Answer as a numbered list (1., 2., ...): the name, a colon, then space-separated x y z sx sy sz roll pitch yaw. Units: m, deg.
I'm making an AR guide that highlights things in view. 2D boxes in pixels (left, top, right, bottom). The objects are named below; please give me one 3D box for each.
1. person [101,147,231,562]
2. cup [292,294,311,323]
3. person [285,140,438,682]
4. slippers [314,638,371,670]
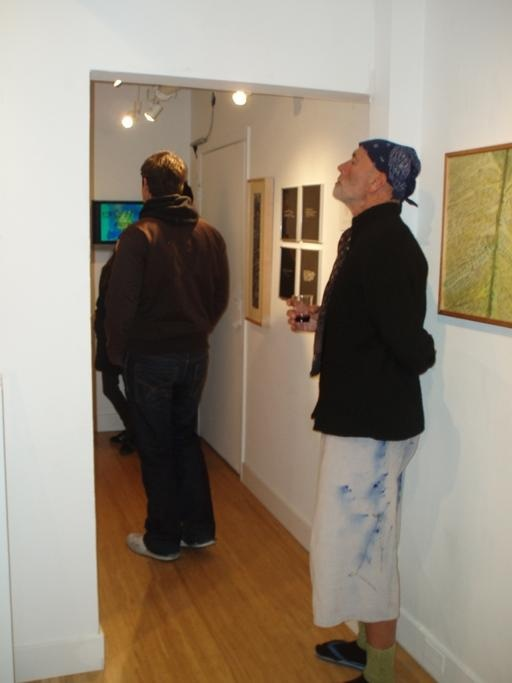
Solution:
1. person: -0.414 0.075 2.525 0.398 1.743 0.499 7 8 41
2. cup: 0.157 -0.095 1.882 0.065 0.122 0.090 -2 -3 21
3. person: 0.324 0.251 1.646 0.371 1.615 0.347 4 7 30
4. slippers: 0.279 0.998 1.869 0.126 0.058 0.070 11 1 17
